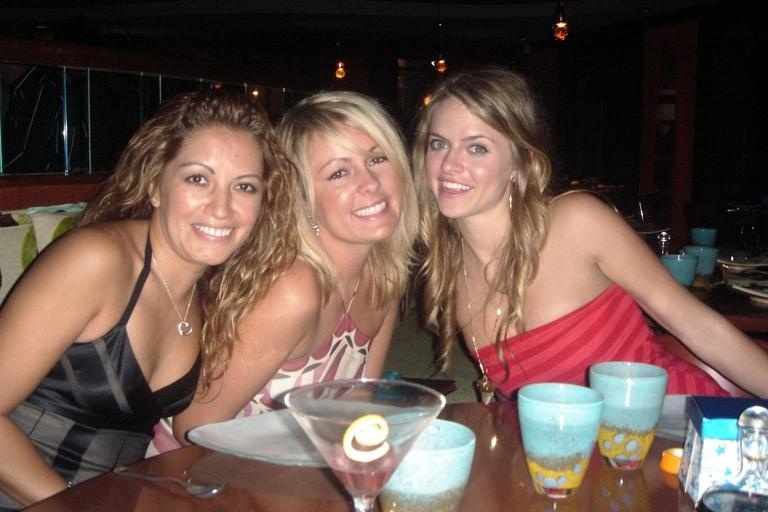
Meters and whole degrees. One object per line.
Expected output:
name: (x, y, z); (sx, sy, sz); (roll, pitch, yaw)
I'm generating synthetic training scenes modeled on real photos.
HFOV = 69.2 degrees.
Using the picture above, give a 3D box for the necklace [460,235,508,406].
necklace: (0.432, 0.347, 2.843); (0.124, 0.923, 0.052); (-24, -32, 13)

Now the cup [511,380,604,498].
cup: (0.497, 0.519, 1.743); (0.321, 0.324, 0.309); (1, 5, 0)
